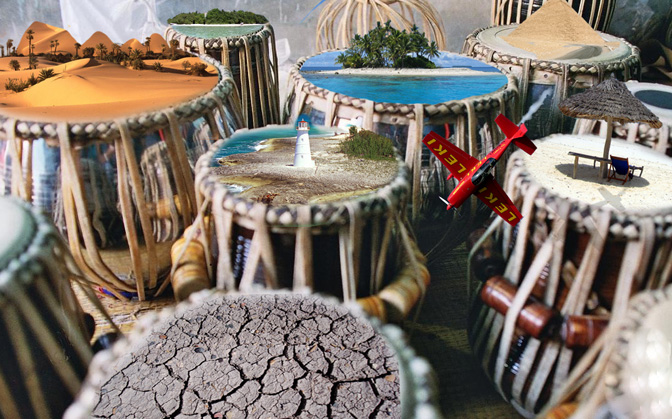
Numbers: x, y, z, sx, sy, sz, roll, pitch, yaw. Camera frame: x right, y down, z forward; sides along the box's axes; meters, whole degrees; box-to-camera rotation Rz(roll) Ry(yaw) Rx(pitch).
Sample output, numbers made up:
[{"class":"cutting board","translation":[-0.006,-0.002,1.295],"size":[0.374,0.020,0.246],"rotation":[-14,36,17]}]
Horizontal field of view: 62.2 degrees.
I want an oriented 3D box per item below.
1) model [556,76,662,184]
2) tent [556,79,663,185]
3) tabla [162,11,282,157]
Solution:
[{"class":"model","translation":[1.752,-0.571,4.000],"size":[0.675,0.691,0.680],"rotation":[-1,29,0]},{"class":"tent","translation":[1.738,-0.556,3.931],"size":[0.669,0.685,0.674],"rotation":[2,28,4]},{"class":"tabla","translation":[-1.051,-1.465,6.447],"size":[0.807,1.061,0.787],"rotation":[1,25,0]}]
